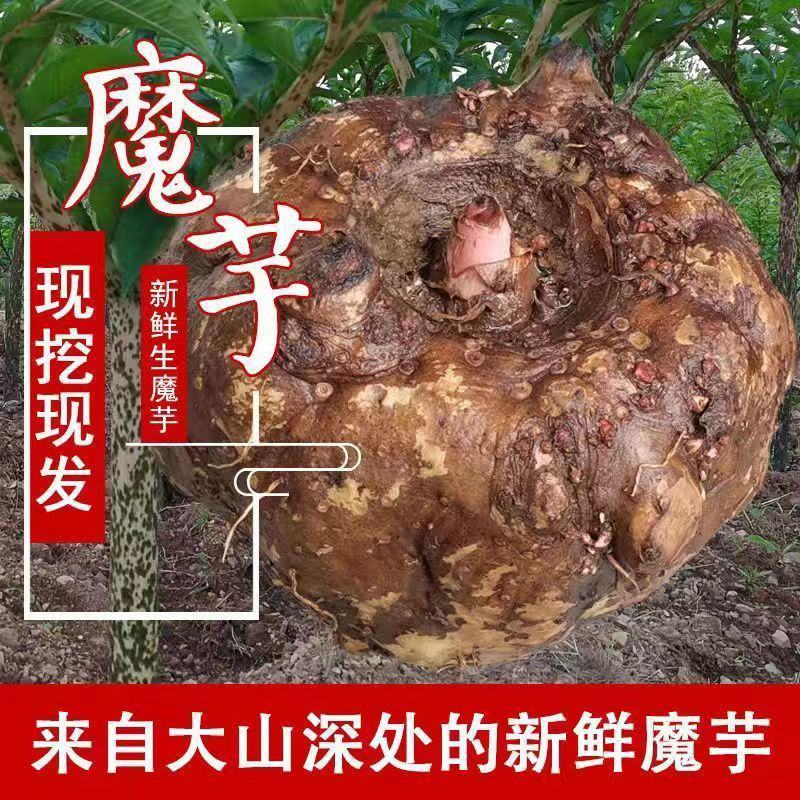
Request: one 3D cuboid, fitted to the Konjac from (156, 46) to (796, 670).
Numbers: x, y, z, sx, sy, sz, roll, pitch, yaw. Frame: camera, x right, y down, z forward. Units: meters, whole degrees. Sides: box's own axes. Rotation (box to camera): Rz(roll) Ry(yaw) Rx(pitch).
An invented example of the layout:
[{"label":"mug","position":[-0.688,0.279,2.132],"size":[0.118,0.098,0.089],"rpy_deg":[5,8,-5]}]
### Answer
[{"label":"Konjac","position":[0.203,-0.036,2.167],"size":[1.239,1.321,1.152],"rpy_deg":[2,20,-4]}]
